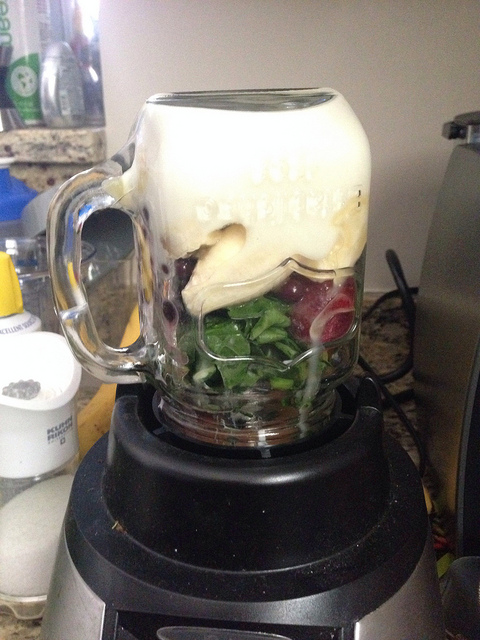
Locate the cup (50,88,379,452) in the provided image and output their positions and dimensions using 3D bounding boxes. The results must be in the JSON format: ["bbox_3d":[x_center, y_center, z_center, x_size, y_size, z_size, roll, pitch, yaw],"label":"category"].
[{"bbox_3d":[0.001,-0.070,0.424,0.245,0.279,0.175,-4,19,-11],"label":"cup"}]

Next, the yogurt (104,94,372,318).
[{"bbox_3d":[-0.003,-0.084,0.343,0.131,0.135,0.096,-5,27,-5],"label":"yogurt"}]
